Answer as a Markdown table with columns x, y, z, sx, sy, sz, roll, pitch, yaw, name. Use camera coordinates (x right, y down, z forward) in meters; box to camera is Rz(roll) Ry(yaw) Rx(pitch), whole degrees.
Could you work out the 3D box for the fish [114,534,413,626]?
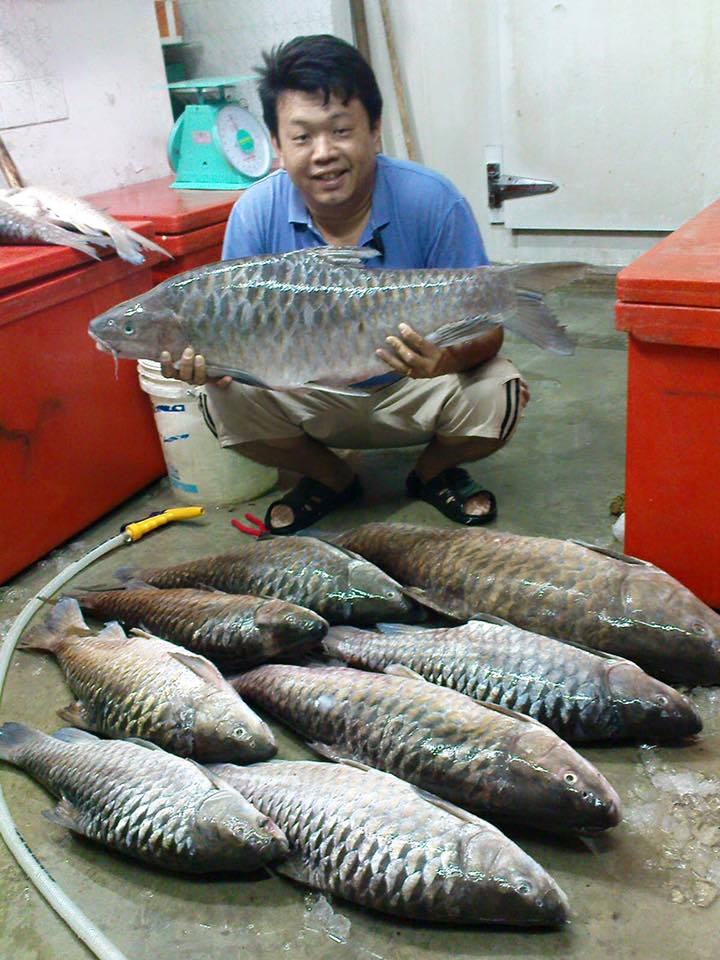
| x | y | z | sx | sy | sz | roll | pitch | yaw | name |
| --- | --- | --- | --- | --- | --- | --- | --- | --- | --- |
| -0.266 | 0.252 | 2.456 | 0.901 | 0.184 | 0.289 | 5 | 21 | 32 | fish |
